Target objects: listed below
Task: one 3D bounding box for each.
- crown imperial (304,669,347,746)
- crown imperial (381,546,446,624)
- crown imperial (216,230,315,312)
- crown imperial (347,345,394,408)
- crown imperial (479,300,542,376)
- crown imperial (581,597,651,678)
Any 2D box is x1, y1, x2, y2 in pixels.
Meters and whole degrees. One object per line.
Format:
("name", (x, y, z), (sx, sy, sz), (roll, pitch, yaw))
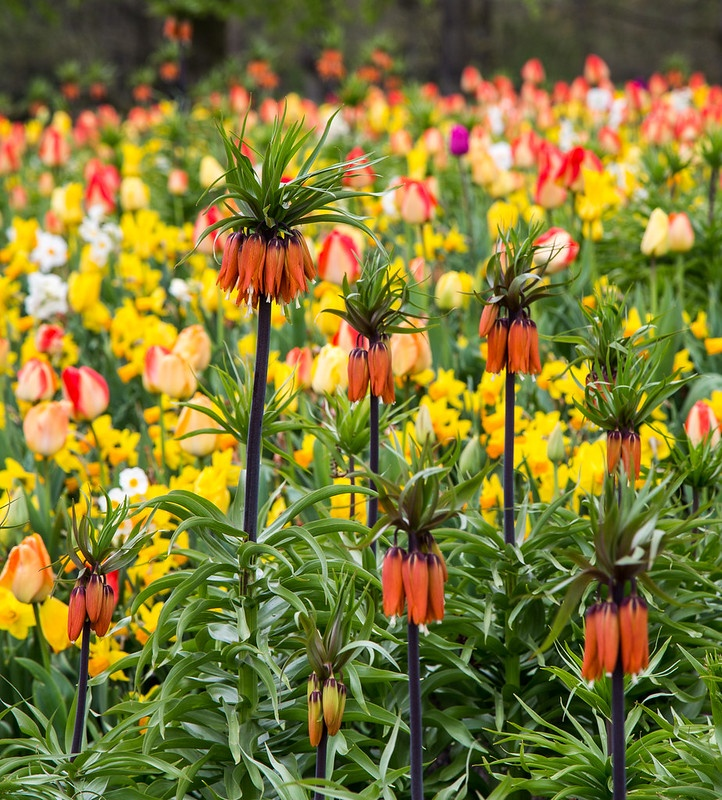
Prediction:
("crown imperial", (-0.081, 0.718, 3.870), (0.089, 0.176, 0.065), (-6, 8, -3))
("crown imperial", (0.124, 0.425, 3.911), (0.153, 0.197, 0.151), (-7, 9, 2))
("crown imperial", (-0.231, -0.328, 4.069), (0.153, 0.195, 0.192), (-2, 2, -3))
("crown imperial", (0.022, -0.063, 4.207), (0.106, 0.213, 0.113), (1, 2, 35))
("crown imperial", (0.373, -0.163, 4.226), (0.130, 0.272, 0.148), (-5, 11, -10))
("crown imperial", (0.572, 0.516, 3.729), (0.137, 0.250, 0.142), (3, -3, -44))
